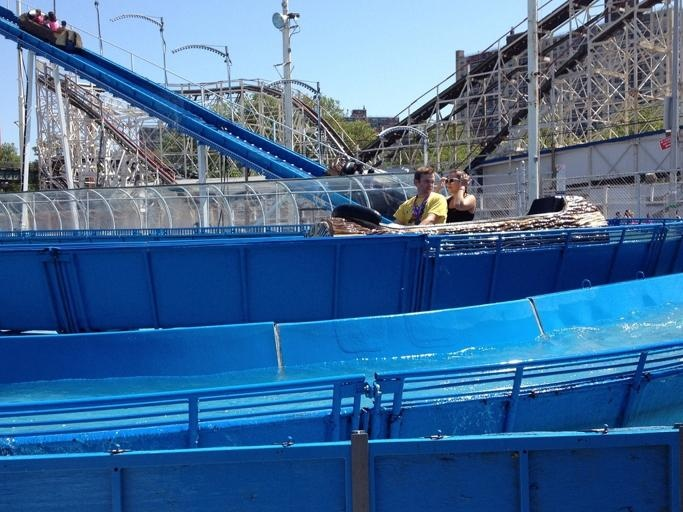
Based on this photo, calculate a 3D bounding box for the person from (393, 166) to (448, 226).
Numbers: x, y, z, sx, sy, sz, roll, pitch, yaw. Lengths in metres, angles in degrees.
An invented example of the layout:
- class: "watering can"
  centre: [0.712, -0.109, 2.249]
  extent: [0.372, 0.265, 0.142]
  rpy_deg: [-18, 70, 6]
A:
- class: "person"
  centre: [2.656, -1.885, 54.846]
  extent: [1.531, 1.830, 0.715]
  rpy_deg: [0, 6, 7]

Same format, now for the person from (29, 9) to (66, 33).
- class: "person"
  centre: [-12.134, -9.572, 70.598]
  extent: [1.364, 0.930, 0.836]
  rpy_deg: [-2, 5, -10]

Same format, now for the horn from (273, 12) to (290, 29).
- class: "horn"
  centre: [-2.314, -8.977, 66.382]
  extent: [0.547, 0.678, 1.036]
  rpy_deg: [0, 5, 4]

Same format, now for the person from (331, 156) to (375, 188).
- class: "person"
  centre: [0.006, -3.103, 65.165]
  extent: [1.369, 0.628, 1.840]
  rpy_deg: [-1, 17, -37]
